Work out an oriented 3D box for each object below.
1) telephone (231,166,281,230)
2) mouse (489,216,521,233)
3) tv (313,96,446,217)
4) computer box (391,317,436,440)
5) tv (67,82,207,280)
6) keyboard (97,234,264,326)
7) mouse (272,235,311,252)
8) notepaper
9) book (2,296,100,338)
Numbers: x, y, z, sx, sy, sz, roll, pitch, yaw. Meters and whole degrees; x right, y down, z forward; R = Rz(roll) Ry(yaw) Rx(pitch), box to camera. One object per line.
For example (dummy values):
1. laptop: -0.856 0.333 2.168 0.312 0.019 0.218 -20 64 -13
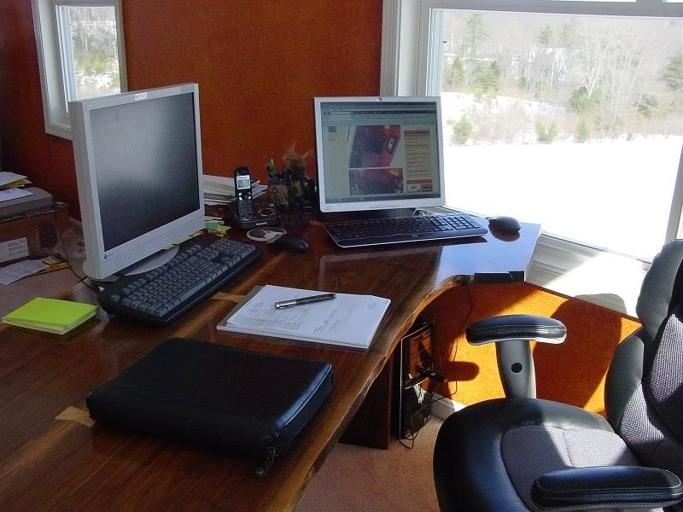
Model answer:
1. telephone: -0.343 -0.240 2.142 0.204 0.269 0.237 -17 39 -27
2. mouse: 0.629 -0.116 2.036 0.066 0.038 0.087 0 2 -36
3. tv: 0.136 -0.399 2.083 0.491 0.460 0.191 -7 24 -24
4. computer box: 0.264 0.543 2.420 0.234 0.481 0.282 8 15 33
5. tv: -0.660 -0.246 1.675 0.176 0.533 0.484 13 26 18
6. keyboard: -0.485 0.058 1.663 0.270 0.077 0.549 16 26 17
7. mouse: -0.171 -0.042 1.853 0.092 0.031 0.057 8 30 9
8. notepaper: -0.802 0.163 1.462 0.156 0.022 0.126 6 23 16
9. book: -0.809 0.162 1.463 0.156 0.022 0.126 7 23 16
